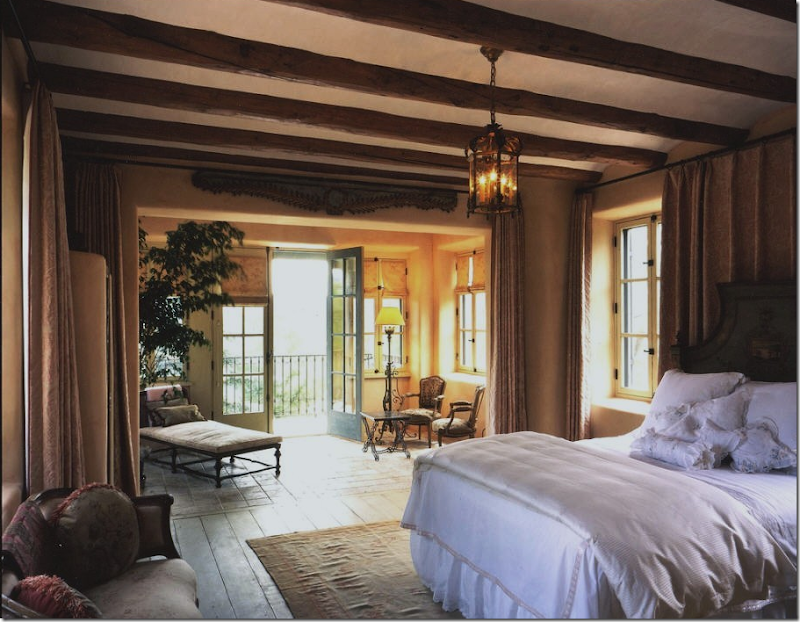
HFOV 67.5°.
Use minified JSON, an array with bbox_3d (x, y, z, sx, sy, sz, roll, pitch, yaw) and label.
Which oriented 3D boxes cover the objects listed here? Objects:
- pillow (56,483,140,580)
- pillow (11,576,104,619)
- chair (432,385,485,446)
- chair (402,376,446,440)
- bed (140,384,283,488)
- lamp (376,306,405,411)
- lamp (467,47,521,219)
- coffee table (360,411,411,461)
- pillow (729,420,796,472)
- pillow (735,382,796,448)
[{"bbox_3d":[-1.632,1.155,3.189,0.270,0.468,0.446,-11,-7,38],"label":"pillow"},{"bbox_3d":[-1.411,1.172,2.453,0.221,0.092,0.221,17,-10,-2],"label":"pillow"},{"bbox_3d":[0.767,1.336,7.447,0.642,0.830,0.616,1,0,-12],"label":"chair"},{"bbox_3d":[0.306,1.326,8.091,0.627,0.914,0.582,1,-4,22],"label":"chair"},{"bbox_3d":[-2.227,1.353,6.731,1.656,0.890,0.853,1,1,36],"label":"bed"},{"bbox_3d":[-0.113,0.634,8.483,0.421,1.626,1.210,0,2,0],"label":"lamp"},{"bbox_3d":[0.681,-1.190,4.210,0.351,1.114,0.960,0,2,11],"label":"lamp"},{"bbox_3d":[-0.185,1.600,7.788,0.568,0.551,0.611,2,-5,-16],"label":"coffee table"},{"bbox_3d":[2.378,0.895,3.891,0.318,0.309,0.111,-7,-44,16],"label":"pillow"},{"bbox_3d":[2.556,0.683,4.049,0.404,0.379,0.108,-7,-27,38],"label":"pillow"}]
